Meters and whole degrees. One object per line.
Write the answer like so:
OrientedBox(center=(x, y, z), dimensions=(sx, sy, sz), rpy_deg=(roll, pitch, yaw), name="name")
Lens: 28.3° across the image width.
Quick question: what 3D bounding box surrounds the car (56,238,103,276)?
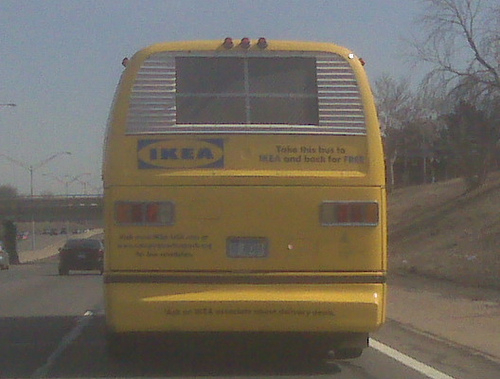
OrientedBox(center=(-5.850, 2.639, 34.130), dimensions=(1.239, 1.081, 2.858), rpy_deg=(0, 6, -7), name="car")
